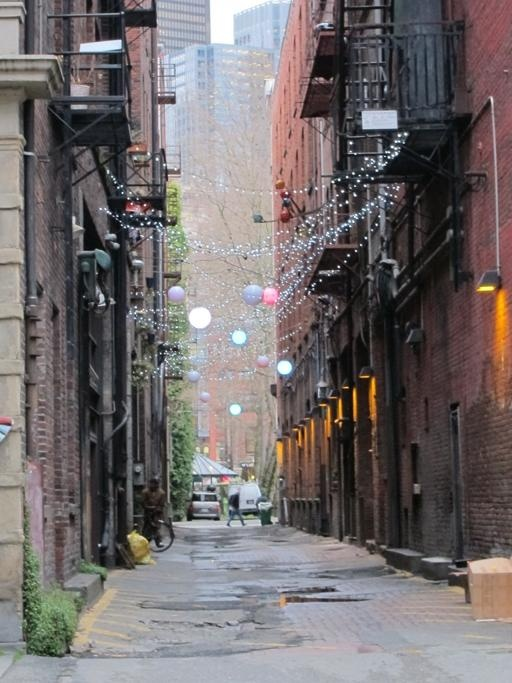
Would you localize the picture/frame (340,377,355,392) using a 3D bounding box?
[{"bbox_3d":[1.889,0.907,30.463,0.204,0.242,0.229,1,19,-8],"label":"picture/frame"}]

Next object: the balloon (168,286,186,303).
[{"bbox_3d":[-1.831,-1.095,33.003,0.341,0.395,1.172,-1,-5,-5],"label":"balloon"}]

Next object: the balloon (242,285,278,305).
[{"bbox_3d":[0.100,-0.965,31.613,0.750,0.504,0.413,-3,10,-33],"label":"balloon"}]

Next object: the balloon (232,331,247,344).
[{"bbox_3d":[-0.406,-0.101,35.218,0.278,0.405,0.286,1,0,40],"label":"balloon"}]

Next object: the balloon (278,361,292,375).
[{"bbox_3d":[0.805,0.758,43.406,0.337,0.238,0.374,-10,-15,20],"label":"balloon"}]

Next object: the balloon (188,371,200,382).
[{"bbox_3d":[-1.918,1.037,43.807,0.266,0.417,0.308,0,4,3],"label":"balloon"}]

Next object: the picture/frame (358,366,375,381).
[{"bbox_3d":[1.986,0.559,26.535,0.216,0.237,0.290,3,-6,-6],"label":"picture/frame"}]

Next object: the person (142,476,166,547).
[{"bbox_3d":[-1.821,2.961,25.626,0.360,1.153,1.324,0,-4,-4],"label":"person"}]
